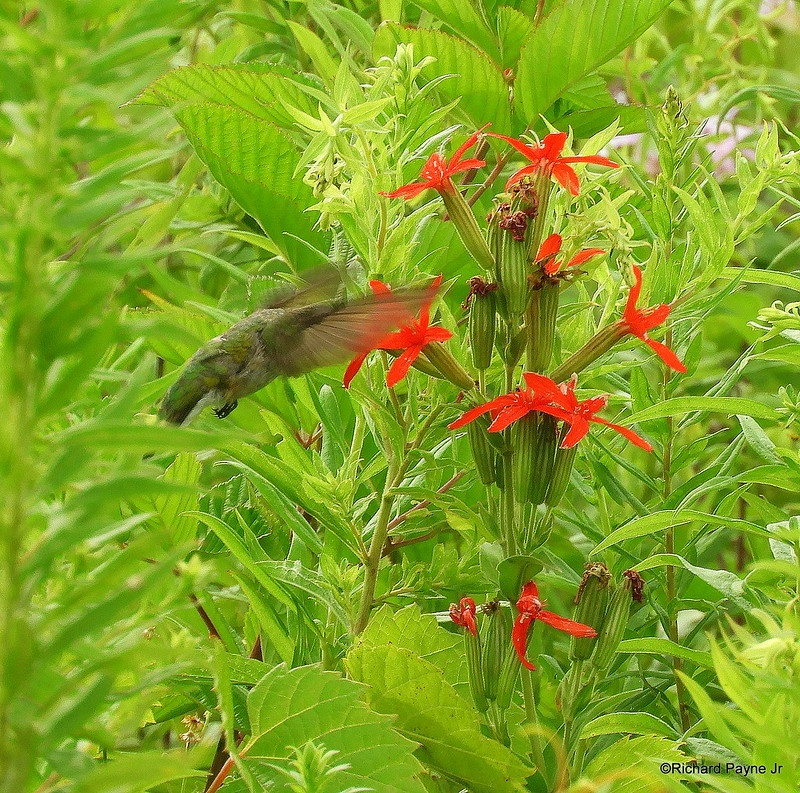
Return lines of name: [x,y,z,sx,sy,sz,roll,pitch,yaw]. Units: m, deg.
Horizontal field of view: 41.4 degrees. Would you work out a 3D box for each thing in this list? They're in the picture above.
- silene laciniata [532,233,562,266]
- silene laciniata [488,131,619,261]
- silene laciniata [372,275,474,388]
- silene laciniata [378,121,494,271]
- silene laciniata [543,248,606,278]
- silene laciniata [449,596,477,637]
silene laciniata: [0.099,-0.102,0.721,0.012,0.027,0.006,41,48,3]
silene laciniata: [0.104,-0.155,0.738,0.079,0.062,0.110,0,105,-10]
silene laciniata: [0.013,-0.047,0.714,0.063,0.084,0.072,-15,66,-8]
silene laciniata: [0.026,-0.147,0.761,0.060,0.058,0.123,-6,107,-23]
silene laciniata: [0.121,-0.098,0.744,0.035,0.010,0.012,-31,57,30]
silene laciniata: [0.050,0.161,0.767,0.010,0.025,0.024,-39,47,-24]
